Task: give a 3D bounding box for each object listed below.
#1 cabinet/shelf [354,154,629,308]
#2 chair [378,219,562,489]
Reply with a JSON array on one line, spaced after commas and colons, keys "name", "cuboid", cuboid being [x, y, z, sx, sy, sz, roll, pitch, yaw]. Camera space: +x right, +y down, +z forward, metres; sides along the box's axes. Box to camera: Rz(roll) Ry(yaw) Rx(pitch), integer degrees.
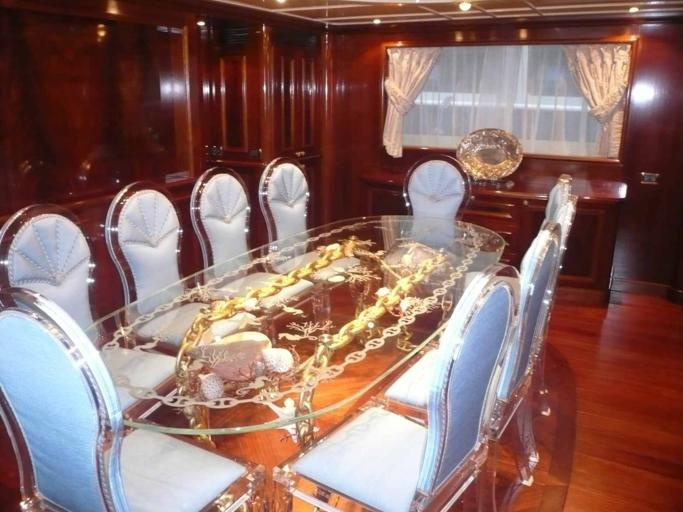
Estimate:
[{"name": "cabinet/shelf", "cuboid": [1.436, -0.250, 5.017, 2.236, 1.342, 0.817, 4, 10, 30]}, {"name": "chair", "cuboid": [0.518, 0.490, 2.245, 0.647, 1.080, 0.679, -14, 22, -4]}]
